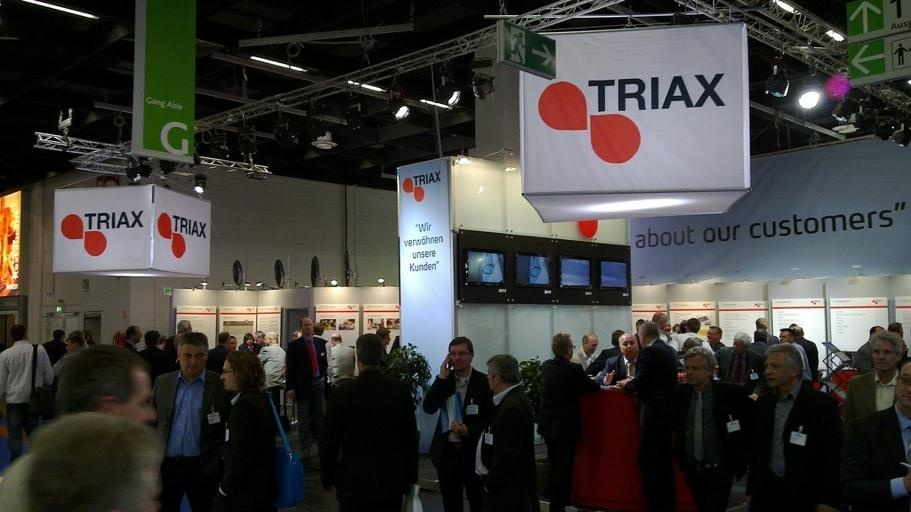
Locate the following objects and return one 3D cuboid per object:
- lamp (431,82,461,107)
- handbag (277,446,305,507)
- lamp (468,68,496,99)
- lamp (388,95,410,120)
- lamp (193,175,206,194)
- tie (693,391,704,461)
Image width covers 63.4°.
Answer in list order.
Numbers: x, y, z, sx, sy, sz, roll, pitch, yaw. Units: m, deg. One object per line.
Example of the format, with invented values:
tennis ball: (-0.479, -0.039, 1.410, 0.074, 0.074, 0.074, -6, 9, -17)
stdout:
lamp: (-0.122, -3.015, 13.672, 0.387, 0.514, 0.695, 1, -6, -4)
handbag: (-1.955, 2.610, 8.707, 0.290, 0.711, 0.280, 2, -6, -13)
lamp: (0.535, -3.138, 13.220, 0.440, 0.569, 0.514, 0, -1, -9)
lamp: (-1.093, -2.945, 14.338, 0.260, 0.428, 0.601, 0, -6, 6)
lamp: (-6.416, -1.863, 18.586, 0.250, 0.475, 0.587, 3, -6, -23)
tie: (3.151, 2.198, 9.522, 0.140, 0.945, 0.071, -3, -22, 28)
